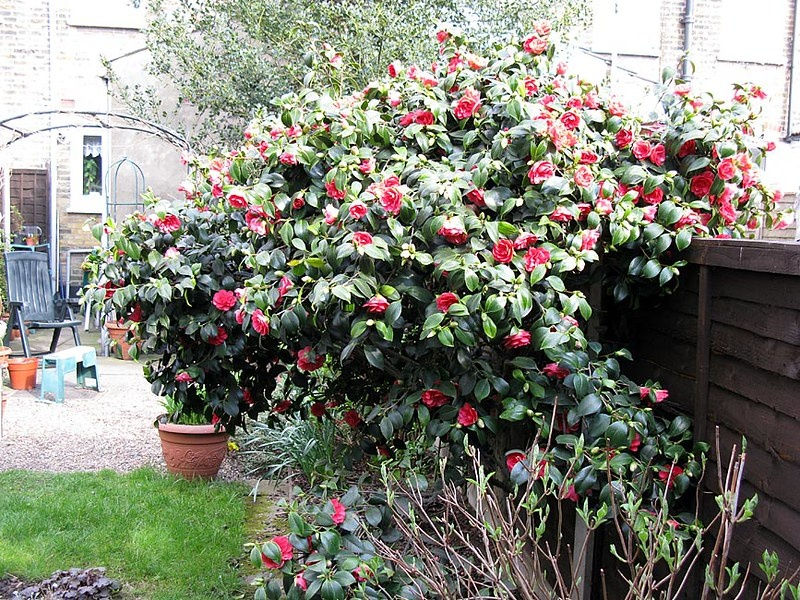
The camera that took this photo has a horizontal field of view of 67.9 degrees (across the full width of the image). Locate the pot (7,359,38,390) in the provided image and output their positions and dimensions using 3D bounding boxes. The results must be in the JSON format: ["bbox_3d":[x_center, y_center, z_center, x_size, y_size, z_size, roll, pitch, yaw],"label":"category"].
[{"bbox_3d":[-4.214,0.822,6.692,0.313,0.295,0.305,4,3,0],"label":"pot"}]
